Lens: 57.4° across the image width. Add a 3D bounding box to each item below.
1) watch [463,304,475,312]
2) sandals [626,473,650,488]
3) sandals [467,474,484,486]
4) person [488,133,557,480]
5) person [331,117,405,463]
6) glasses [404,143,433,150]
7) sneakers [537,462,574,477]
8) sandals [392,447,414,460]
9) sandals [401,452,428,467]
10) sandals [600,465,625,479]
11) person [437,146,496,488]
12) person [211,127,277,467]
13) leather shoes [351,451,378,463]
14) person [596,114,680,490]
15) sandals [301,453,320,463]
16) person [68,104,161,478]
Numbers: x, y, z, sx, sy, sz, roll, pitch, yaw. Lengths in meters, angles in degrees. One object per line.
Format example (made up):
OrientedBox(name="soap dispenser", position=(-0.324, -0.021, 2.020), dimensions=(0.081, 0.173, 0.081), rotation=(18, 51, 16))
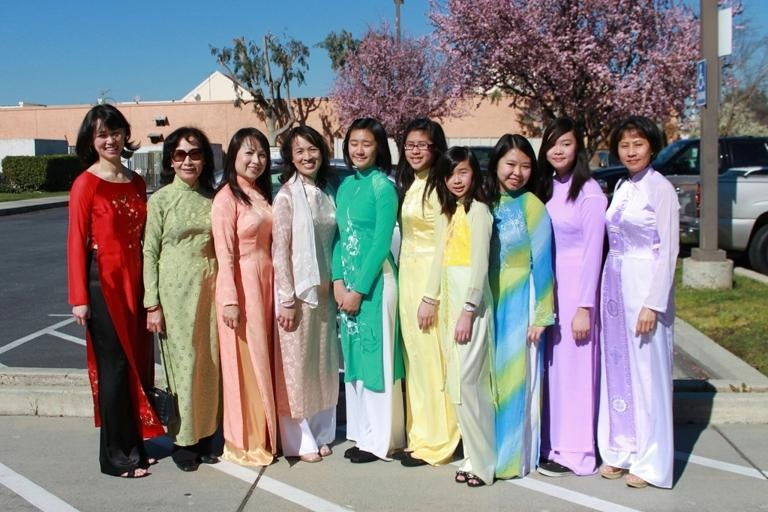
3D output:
OrientedBox(name="watch", position=(0.715, 0.435, 5.857), dimensions=(0.105, 0.086, 0.057), rotation=(-2, 10, -2))
OrientedBox(name="sandals", position=(2.145, 1.908, 5.902), dimensions=(0.172, 0.086, 0.089), rotation=(14, 24, 32))
OrientedBox(name="sandals", position=(0.772, 1.912, 5.962), dimensions=(0.142, 0.061, 0.069), rotation=(14, -32, -8))
OrientedBox(name="person", position=(1.164, 0.446, 5.997), dimensions=(0.554, 2.894, 0.533), rotation=(0, 9, 9))
OrientedBox(name="person", position=(-0.159, 0.308, 6.297), dimensions=(0.622, 3.019, 0.568), rotation=(-2, 9, -5))
OrientedBox(name="glasses", position=(0.294, -0.960, 6.160), dimensions=(0.235, 0.061, 0.055), rotation=(0, 10, 6))
OrientedBox(name="sneakers", position=(1.477, 1.856, 6.076), dimensions=(0.304, 0.135, 0.119), rotation=(12, -8, 6))
OrientedBox(name="sandals", position=(0.150, 1.784, 6.301), dimensions=(0.157, 0.062, 0.090), rotation=(2, -1, -13))
OrientedBox(name="sandals", position=(0.252, 1.817, 6.230), dimensions=(0.171, 0.060, 0.124), rotation=(16, 3, -27))
OrientedBox(name="sandals", position=(1.968, 1.854, 6.015), dimensions=(0.167, 0.071, 0.093), rotation=(7, 0, -7))
OrientedBox(name="person", position=(0.703, 0.507, 5.983), dimensions=(0.472, 2.818, 0.588), rotation=(-1, 9, 4))
OrientedBox(name="person", position=(-1.247, 0.368, 6.261), dimensions=(0.513, 2.940, 0.610), rotation=(-2, 9, -7))
OrientedBox(name="leather shoes", position=(-0.185, 1.809, 6.287), dimensions=(0.180, 0.079, 0.105), rotation=(-2, 13, -7))
OrientedBox(name="person", position=(2.182, 0.377, 5.966), dimensions=(0.662, 3.070, 0.694), rotation=(3, 10, 23))
OrientedBox(name="sandals", position=(-0.673, 1.814, 6.352), dimensions=(0.181, 0.081, 0.073), rotation=(2, 9, 22))
OrientedBox(name="person", position=(-2.368, 0.311, 6.045), dimensions=(0.677, 3.150, 0.662), rotation=(-5, 10, -21))
